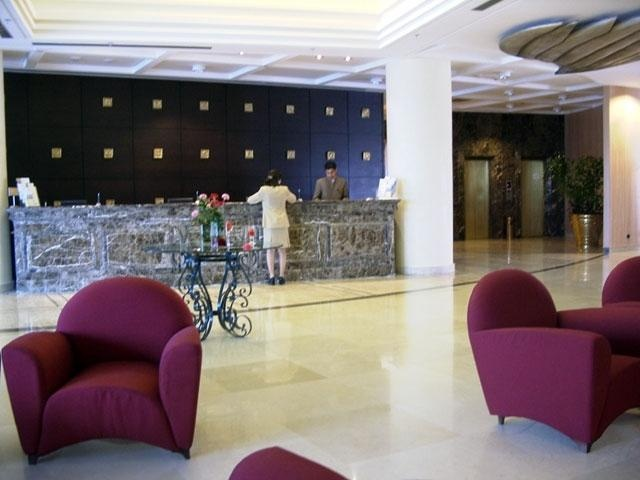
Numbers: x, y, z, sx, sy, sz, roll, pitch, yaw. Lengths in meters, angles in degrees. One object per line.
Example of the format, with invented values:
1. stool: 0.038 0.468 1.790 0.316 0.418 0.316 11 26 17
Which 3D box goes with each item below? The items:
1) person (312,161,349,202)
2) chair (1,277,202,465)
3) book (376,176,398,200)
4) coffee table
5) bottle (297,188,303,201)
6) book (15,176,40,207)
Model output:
1. person: 0.165 -1.214 9.802 0.752 1.356 0.711 -1 2 -4
2. chair: -1.319 0.845 3.359 1.207 1.292 1.036 -1 -1 -5
3. book: 1.284 -0.995 9.330 0.386 0.397 0.226 0 6 10
4. coffee table: -1.267 0.673 6.001 1.219 1.505 1.262 1 -4 -17
5. bottle: -0.508 -1.119 11.631 0.126 0.256 0.056 -5 7 -38
6. book: -4.949 -0.798 8.154 0.296 0.486 0.665 -4 6 -32
